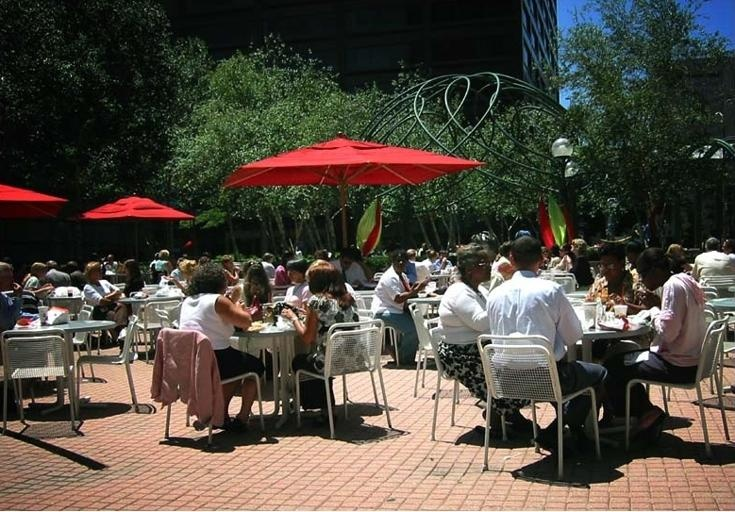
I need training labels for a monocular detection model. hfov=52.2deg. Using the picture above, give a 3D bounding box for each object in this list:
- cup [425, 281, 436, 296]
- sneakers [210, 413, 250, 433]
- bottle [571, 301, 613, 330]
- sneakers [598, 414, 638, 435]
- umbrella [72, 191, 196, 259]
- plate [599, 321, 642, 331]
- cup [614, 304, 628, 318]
[{"bbox_3d":[1.237,0.622,14.734,0.119,0.319,0.224,17,-13,-43],"label":"cup"},{"bbox_3d":[-1.766,2.119,9.466,0.523,0.224,0.193,1,2,6],"label":"sneakers"},{"bbox_3d":[2.616,0.689,8.795,0.371,0.279,0.376,-1,0,0],"label":"bottle"},{"bbox_3d":[2.906,1.994,8.787,0.641,0.198,0.264,-11,-12,43],"label":"sneakers"},{"bbox_3d":[-5.614,-0.776,18.471,1.709,1.098,1.692,-1,-1,1],"label":"umbrella"},{"bbox_3d":[2.865,0.812,8.642,0.225,0.069,0.225,0,1,-18],"label":"plate"},{"bbox_3d":[2.979,0.651,8.815,0.147,0.111,0.137,-1,-1,0],"label":"cup"}]
